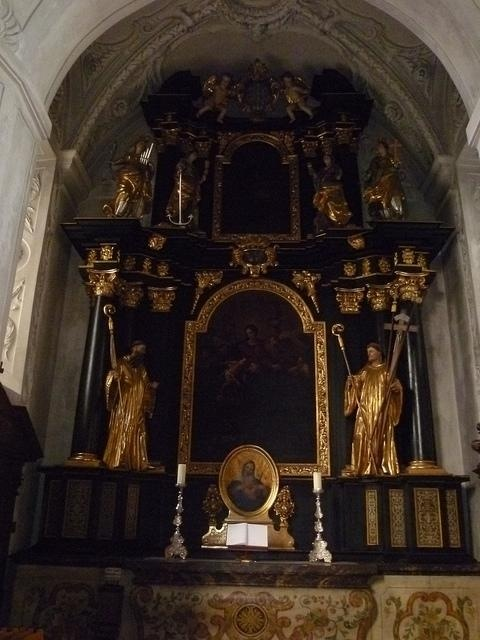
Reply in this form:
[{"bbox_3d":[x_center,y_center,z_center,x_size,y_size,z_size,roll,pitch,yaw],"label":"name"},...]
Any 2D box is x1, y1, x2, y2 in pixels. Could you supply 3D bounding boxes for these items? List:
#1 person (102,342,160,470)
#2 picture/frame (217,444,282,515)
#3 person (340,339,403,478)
[{"bbox_3d":[-1.132,0.841,5.816,0.515,1.316,0.221,7,-27,-11],"label":"person"},{"bbox_3d":[0.096,1.608,5.734,0.754,0.810,0.097,2,-28,-1],"label":"picture/frame"},{"bbox_3d":[1.328,0.867,5.719,0.328,1.334,0.613,16,-29,-27],"label":"person"}]
